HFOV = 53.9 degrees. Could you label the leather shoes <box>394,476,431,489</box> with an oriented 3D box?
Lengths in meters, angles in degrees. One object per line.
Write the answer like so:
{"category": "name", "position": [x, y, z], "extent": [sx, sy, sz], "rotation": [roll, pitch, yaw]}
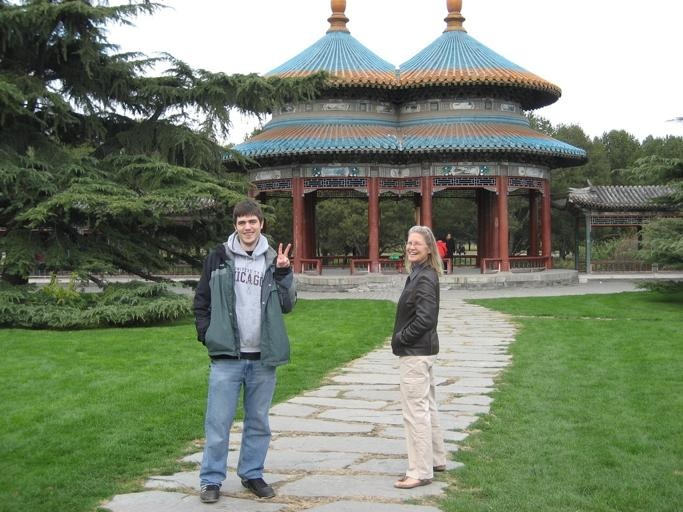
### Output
{"category": "leather shoes", "position": [0.630, 1.986, 5.997], "extent": [0.245, 0.116, 0.120], "rotation": [5, -8, -3]}

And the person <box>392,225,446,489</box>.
{"category": "person", "position": [0.709, 0.880, 6.202], "extent": [0.505, 2.296, 0.745], "rotation": [0, 4, 9]}

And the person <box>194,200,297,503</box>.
{"category": "person", "position": [-0.877, 0.786, 6.052], "extent": [0.895, 2.590, 0.695], "rotation": [-1, 4, -14]}

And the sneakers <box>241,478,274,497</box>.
{"category": "sneakers", "position": [-0.749, 2.014, 5.939], "extent": [0.113, 0.132, 0.335], "rotation": [3, -3, -39]}
